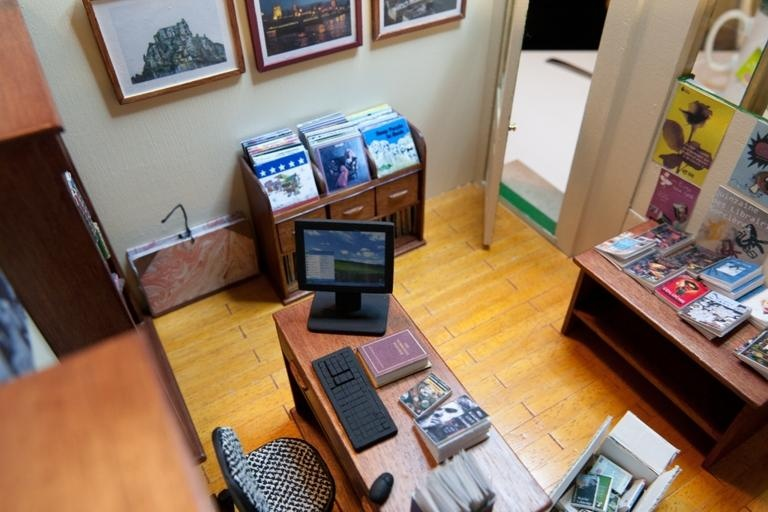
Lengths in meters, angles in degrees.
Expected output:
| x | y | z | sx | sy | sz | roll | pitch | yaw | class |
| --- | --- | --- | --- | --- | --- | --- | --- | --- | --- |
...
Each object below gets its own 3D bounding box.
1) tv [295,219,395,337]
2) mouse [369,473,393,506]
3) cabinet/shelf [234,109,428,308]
| x | y | z | sx | sy | sz | roll | pitch | yaw | class |
| --- | --- | --- | --- | --- | --- | --- | --- | --- | --- |
| -0.187 | 0.071 | 2.567 | 0.452 | 0.554 | 0.347 | 2 | 34 | -2 | tv |
| -0.014 | 0.943 | 2.101 | 0.074 | 0.032 | 0.108 | 23 | 58 | 23 | mouse |
| -0.297 | -0.367 | 3.976 | 1.200 | 1.068 | 0.491 | -23 | 46 | -19 | cabinet/shelf |
